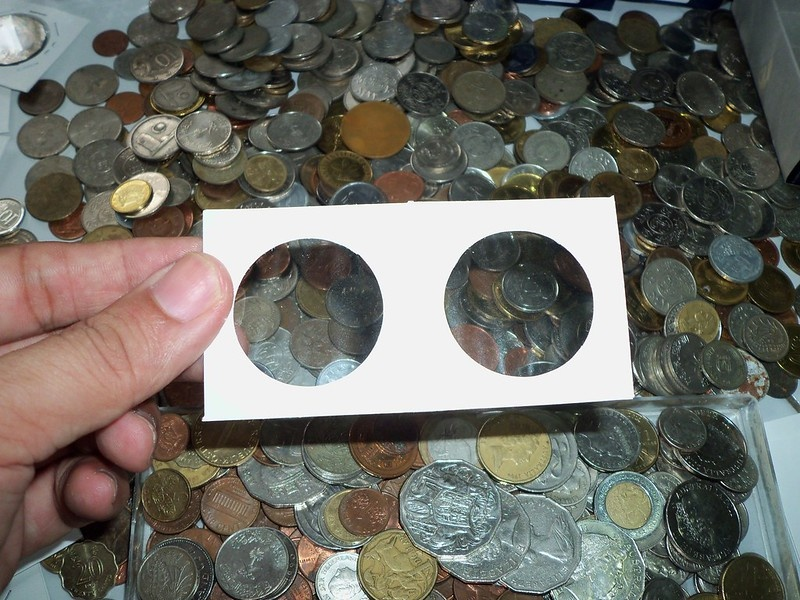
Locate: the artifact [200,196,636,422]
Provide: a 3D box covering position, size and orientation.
[{"bbox_3d":[0.039,0.011,1.740,0.956,0.106,0.468,-2,77,-4],"label":"artifact"}]

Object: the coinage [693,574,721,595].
[{"bbox_3d":[0.794,0.723,1.980,0.054,0.036,0.063,5,76,-2],"label":"coinage"}]
